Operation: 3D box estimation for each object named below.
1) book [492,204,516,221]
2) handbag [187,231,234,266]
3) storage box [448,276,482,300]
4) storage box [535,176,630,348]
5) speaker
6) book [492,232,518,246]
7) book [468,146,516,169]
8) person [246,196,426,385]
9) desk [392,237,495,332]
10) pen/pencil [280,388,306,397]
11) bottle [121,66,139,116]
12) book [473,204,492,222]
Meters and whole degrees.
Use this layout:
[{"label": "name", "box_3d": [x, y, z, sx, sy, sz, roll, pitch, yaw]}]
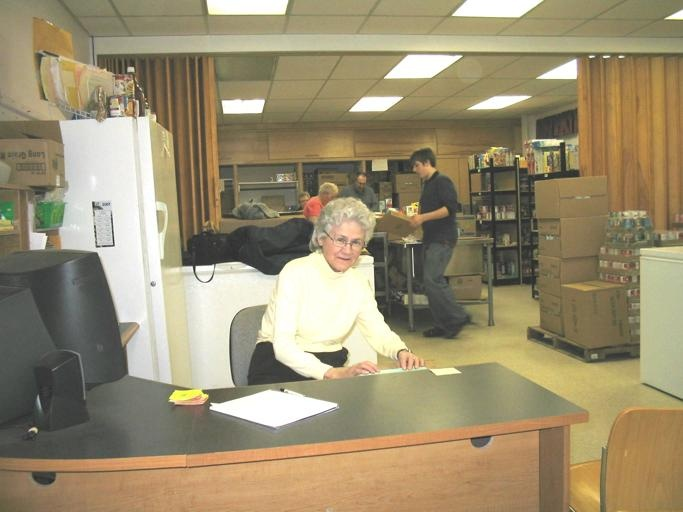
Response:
[{"label": "book", "box_3d": [2.426, -0.641, 8.417, 0.314, 0.223, 0.116, -1, 6, 10]}, {"label": "handbag", "box_3d": [-0.892, -0.047, 3.839, 0.248, 0.244, 0.090, 3, 2, 9]}, {"label": "storage box", "box_3d": [1.414, 0.350, 6.504, 0.331, 0.208, 0.328, -2, 3, 0]}, {"label": "storage box", "box_3d": [2.057, 0.014, 4.845, 0.554, 1.385, 0.891, -2, 6, -4]}, {"label": "speaker", "box_3d": [-0.988, 0.461, 1.962, 0.140, 0.253, 0.155, 2, 4, 14]}, {"label": "book", "box_3d": [2.486, -0.252, 8.586, 0.239, 0.159, 0.237, 0, 1, 7]}, {"label": "book", "box_3d": [2.200, -1.393, 8.341, 0.380, 0.177, 0.503, -3, 2, -8]}, {"label": "person", "box_3d": [-0.019, 0.230, 2.728, 0.732, 0.975, 0.752, 3, 4, -16]}, {"label": "desk", "box_3d": [1.056, 0.357, 6.959, 1.113, 1.029, 1.395, -1, 0, -13]}, {"label": "pen/pencil", "box_3d": [-0.182, 0.509, 2.115, 0.113, 0.009, 0.027, 11, 19, 20]}, {"label": "bottle", "box_3d": [-1.237, -0.970, 3.331, 0.077, 0.322, 0.227, -4, 6, -18]}, {"label": "book", "box_3d": [2.161, -0.640, 8.577, 0.184, 0.256, 0.443, -2, 6, 0]}]
